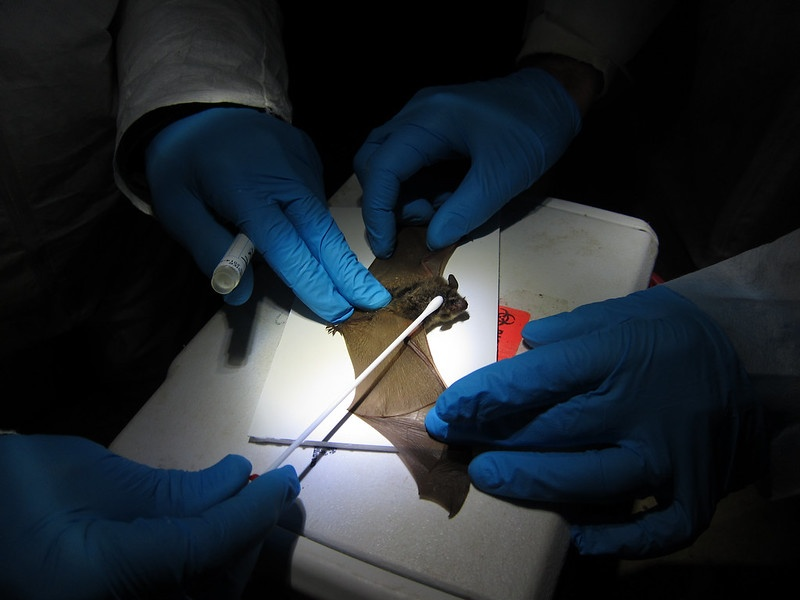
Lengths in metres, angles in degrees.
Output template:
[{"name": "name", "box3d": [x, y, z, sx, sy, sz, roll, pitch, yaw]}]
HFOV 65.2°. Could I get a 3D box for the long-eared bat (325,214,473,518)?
[{"name": "long-eared bat", "box3d": [-0.005, 0.391, 3.300, 0.861, 0.888, 1.280, 12, 51, 7]}]
